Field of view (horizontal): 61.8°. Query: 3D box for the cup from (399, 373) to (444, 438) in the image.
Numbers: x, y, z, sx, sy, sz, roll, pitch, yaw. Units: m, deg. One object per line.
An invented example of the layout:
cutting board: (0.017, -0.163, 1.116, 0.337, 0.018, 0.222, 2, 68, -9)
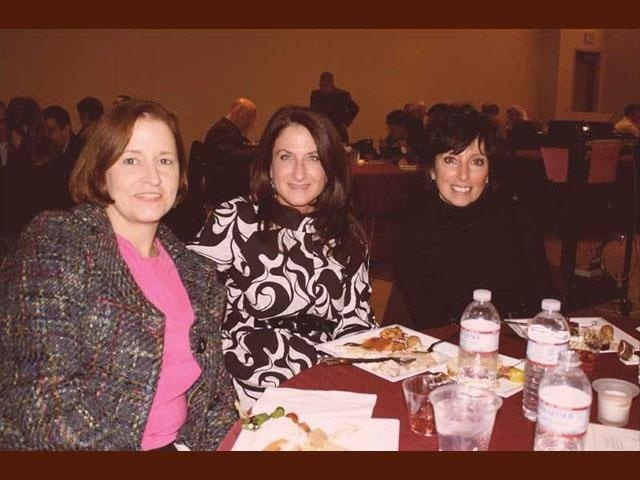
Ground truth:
cup: (0.310, 0.508, 1.654, 0.142, 0.130, 0.150, -1, -3, 0)

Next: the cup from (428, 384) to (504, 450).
cup: (0.424, 0.529, 1.578, 0.202, 0.171, 0.141, 2, 10, 10)

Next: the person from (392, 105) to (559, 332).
person: (0.904, -0.092, 3.362, 0.883, 1.499, 0.542, -3, 11, 7)

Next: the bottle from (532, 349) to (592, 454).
bottle: (0.686, 0.471, 1.519, 0.145, 0.291, 0.134, 0, 11, 0)
